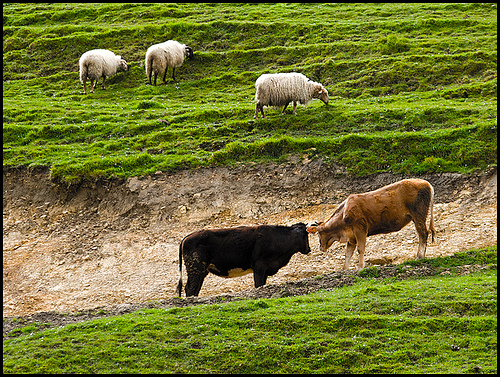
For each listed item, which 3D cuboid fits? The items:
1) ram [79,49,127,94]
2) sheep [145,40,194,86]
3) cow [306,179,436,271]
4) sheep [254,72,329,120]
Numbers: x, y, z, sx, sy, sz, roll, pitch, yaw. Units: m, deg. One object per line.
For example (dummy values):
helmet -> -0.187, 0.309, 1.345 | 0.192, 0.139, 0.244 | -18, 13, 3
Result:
ram -> -11.713, -9.318, 87.154 | 2.351, 3.160, 4.915 | 8, 13, 24
sheep -> -6.453, -10.073, 87.754 | 2.060, 3.175, 4.968 | 14, 19, 39
cow -> 7.365, 2.397, 66.786 | 8.553, 4.714, 2.432 | -8, 0, -9
sheep -> 2.994, -6.640, 78.457 | 5.423, 3.113, 1.809 | 0, 12, -10
